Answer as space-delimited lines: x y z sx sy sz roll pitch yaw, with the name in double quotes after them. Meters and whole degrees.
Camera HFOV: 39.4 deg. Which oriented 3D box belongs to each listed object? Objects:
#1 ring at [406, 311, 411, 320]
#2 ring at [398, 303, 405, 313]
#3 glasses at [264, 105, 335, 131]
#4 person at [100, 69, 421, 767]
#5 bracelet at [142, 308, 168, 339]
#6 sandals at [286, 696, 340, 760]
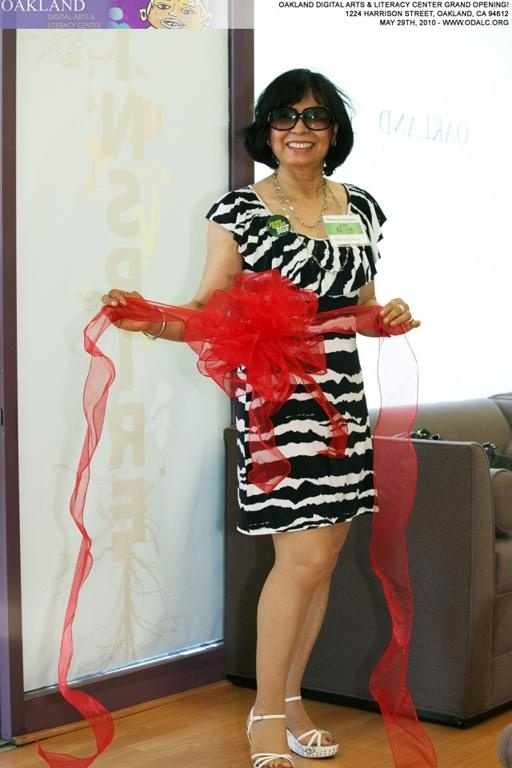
0.361 -0.161 1.694 0.014 0.016 0.017 -2 13 7 "ring"
0.342 -0.178 1.672 0.007 0.020 0.022 -30 7 36 "ring"
0.098 -0.589 1.611 0.148 0.060 0.053 -3 -7 5 "glasses"
0.075 0.089 1.661 0.575 1.590 0.352 2 -8 -33 "person"
-0.227 -0.130 1.576 0.063 0.049 0.042 -8 -9 41 "bracelet"
0.125 0.841 1.755 0.075 0.047 0.202 5 -8 -30 "sandals"
